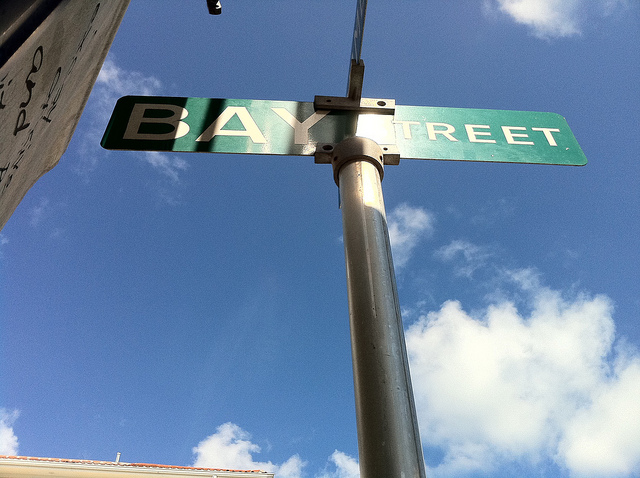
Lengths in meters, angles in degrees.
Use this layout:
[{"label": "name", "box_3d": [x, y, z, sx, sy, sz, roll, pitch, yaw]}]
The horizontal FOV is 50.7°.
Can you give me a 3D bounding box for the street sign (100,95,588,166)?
[{"label": "street sign", "box_3d": [0.216, -0.637, 3.944, 2.681, 0.679, 0.102, 1, -50, -2]}]
